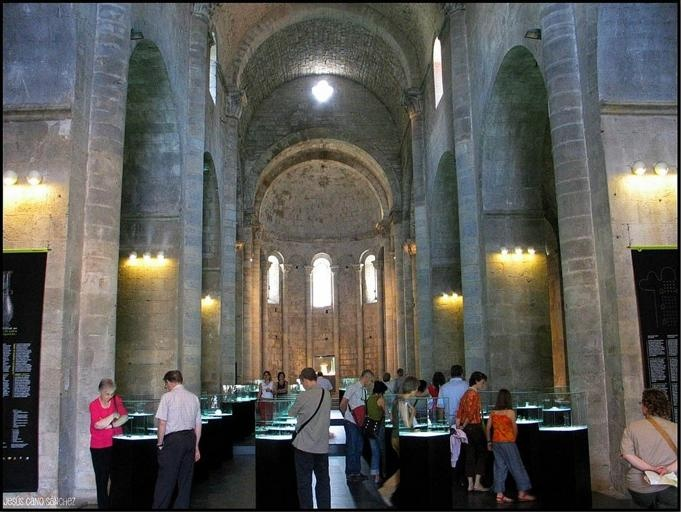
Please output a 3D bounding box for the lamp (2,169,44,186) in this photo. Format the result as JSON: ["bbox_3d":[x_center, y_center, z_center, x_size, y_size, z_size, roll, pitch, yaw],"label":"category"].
[{"bbox_3d":[-4.800,-1.177,9.598,0.539,0.230,0.069,-3,4,4],"label":"lamp"}]

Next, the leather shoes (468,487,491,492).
[{"bbox_3d":[2.323,3.843,10.489,0.268,0.072,0.104,-3,-10,2],"label":"leather shoes"}]

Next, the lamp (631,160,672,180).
[{"bbox_3d":[4.946,-1.376,10.130,0.690,0.221,0.165,0,-10,-13],"label":"lamp"}]

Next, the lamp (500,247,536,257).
[{"bbox_3d":[4.303,-0.102,15.451,0.878,0.208,0.137,-1,-9,-11],"label":"lamp"}]

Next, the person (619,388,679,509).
[{"bbox_3d":[3.415,2.130,7.021,0.599,1.239,0.269,-5,-10,19],"label":"person"}]

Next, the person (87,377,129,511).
[{"bbox_3d":[-3.302,2.647,9.003,0.515,1.788,0.581,-5,-10,14],"label":"person"}]

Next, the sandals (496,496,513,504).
[{"bbox_3d":[2.477,3.710,9.647,0.207,0.085,0.103,0,-1,-11],"label":"sandals"}]

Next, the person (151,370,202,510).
[{"bbox_3d":[-2.209,2.491,8.604,0.595,1.831,0.501,-1,-9,-10],"label":"person"}]

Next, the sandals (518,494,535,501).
[{"bbox_3d":[2.830,3.693,9.728,0.232,0.096,0.098,-1,-3,-7],"label":"sandals"}]

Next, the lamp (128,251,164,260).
[{"bbox_3d":[-4.451,0.016,14.636,0.802,0.215,0.082,-2,-9,-4],"label":"lamp"}]
